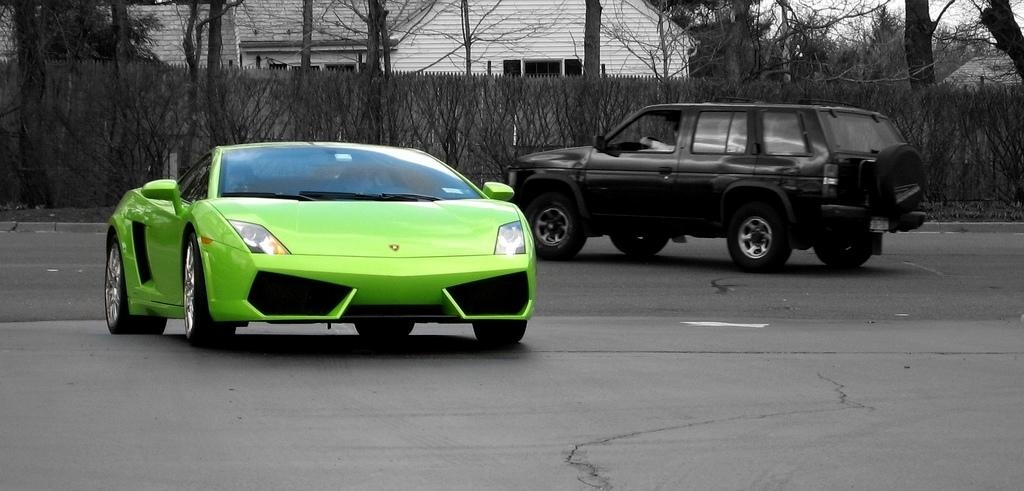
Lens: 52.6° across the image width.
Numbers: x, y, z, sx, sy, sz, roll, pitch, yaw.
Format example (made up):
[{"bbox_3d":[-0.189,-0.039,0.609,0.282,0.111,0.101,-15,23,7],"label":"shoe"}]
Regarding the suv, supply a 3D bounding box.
[{"bbox_3d":[3.991,-1.247,20.794,7.057,2.336,3.843,5,6,34],"label":"suv"}]
